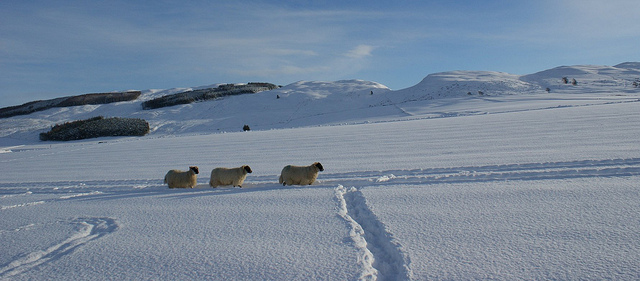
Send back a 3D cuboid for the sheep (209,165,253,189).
[{"bbox_3d":[-7.540,2.892,38.364,4.512,1.750,1.351,1,2,1],"label":"sheep"}]
